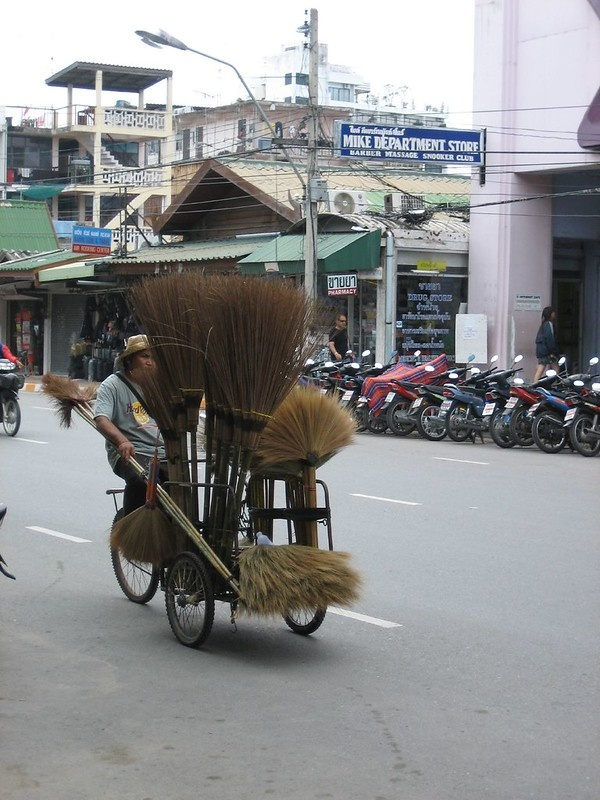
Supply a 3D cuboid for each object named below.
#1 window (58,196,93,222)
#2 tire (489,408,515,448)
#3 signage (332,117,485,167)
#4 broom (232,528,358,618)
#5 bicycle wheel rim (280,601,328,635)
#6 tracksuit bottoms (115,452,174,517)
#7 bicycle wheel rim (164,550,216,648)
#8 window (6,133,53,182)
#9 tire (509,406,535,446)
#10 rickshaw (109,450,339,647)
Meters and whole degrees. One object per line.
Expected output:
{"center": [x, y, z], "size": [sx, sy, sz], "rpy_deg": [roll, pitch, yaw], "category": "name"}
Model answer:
{"center": [-10.676, -9.055, 49.480], "size": [1.537, 1.354, 0.836], "rpy_deg": [-1, -4, 38], "category": "window"}
{"center": [2.626, 0.359, 13.557], "size": [0.422, 0.419, 0.115], "rpy_deg": [-26, 13, -20], "category": "tire"}
{"center": [1.991, -4.704, 19.113], "size": [2.938, 0.691, 0.757], "rpy_deg": [-2, 3, -33], "category": "signage"}
{"center": [-0.020, 0.737, 4.390], "size": [0.387, 0.154, 0.370], "rpy_deg": [-1, 5, -33], "category": "broom"}
{"center": [0.015, 0.998, 4.731], "size": [0.044, 0.244, 0.257], "rpy_deg": [12, -18, -33], "category": "bicycle wheel rim"}
{"center": [-0.787, 0.414, 5.173], "size": [0.240, 0.102, 0.364], "rpy_deg": [39, -30, -26], "category": "tracksuit bottoms"}
{"center": [-0.488, 0.895, 4.638], "size": [0.089, 0.412, 0.436], "rpy_deg": [0, 7, -32], "category": "bicycle wheel rim"}
{"center": [-13.039, -11.550, 49.681], "size": [2.466, 2.211, 1.308], "rpy_deg": [4, -7, -40], "category": "window"}
{"center": [2.803, 0.321, 13.245], "size": [0.125, 0.435, 0.483], "rpy_deg": [3, 11, 31], "category": "tire"}
{"center": [-0.464, 0.647, 5.088], "size": [1.454, 0.739, 0.624], "rpy_deg": [5, 5, 40], "category": "rickshaw"}
